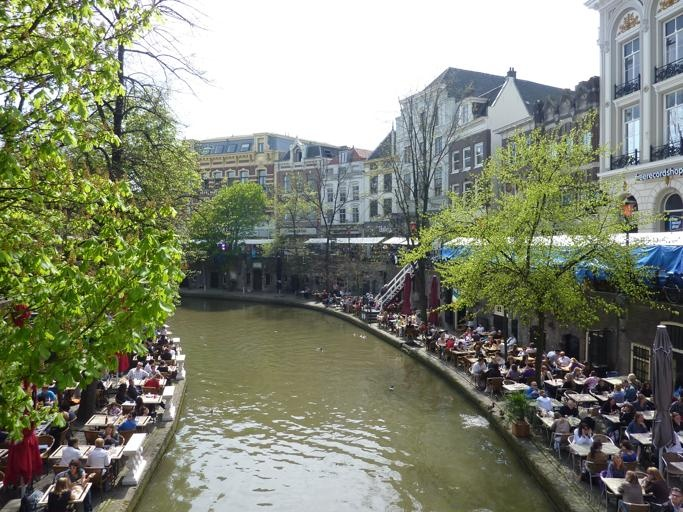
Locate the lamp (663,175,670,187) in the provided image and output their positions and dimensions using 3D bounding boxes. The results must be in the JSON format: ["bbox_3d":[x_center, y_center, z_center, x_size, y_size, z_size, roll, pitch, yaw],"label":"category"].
[{"bbox_3d":[14.701,-3.378,27.300,0.131,0.423,0.380,-3,4,-20],"label":"lamp"}]

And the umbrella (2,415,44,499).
[{"bbox_3d":[-8.033,5.155,15.121,0.870,1.859,0.616,0,4,15],"label":"umbrella"}]
